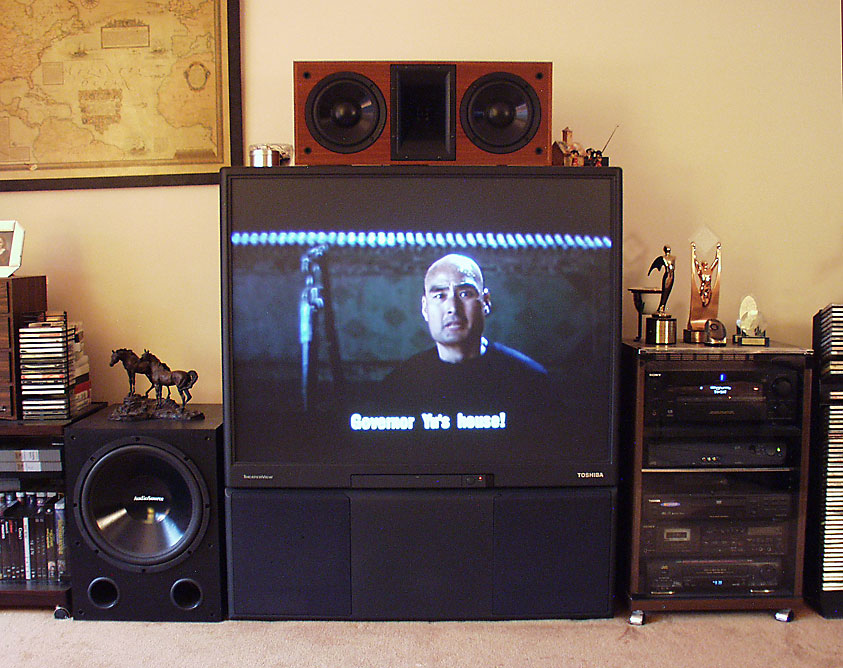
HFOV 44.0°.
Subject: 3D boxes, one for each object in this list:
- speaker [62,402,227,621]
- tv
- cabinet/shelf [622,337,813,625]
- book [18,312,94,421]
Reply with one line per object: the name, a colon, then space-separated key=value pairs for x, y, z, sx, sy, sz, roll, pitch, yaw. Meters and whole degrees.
speaker: x=-1.064 y=0.703 z=4.208 sx=0.652 sy=0.796 sz=0.658 roll=1 pitch=8 yaw=7
tv: x=-0.041 y=-0.074 z=3.877 sx=1.153 sy=0.855 sz=0.407 roll=0 pitch=4 yaw=0
cabinet/shelf: x=1.099 y=0.588 z=4.317 sx=0.962 sy=1.066 sz=0.971 roll=3 pitch=1 yaw=28
book: x=-1.460 y=0.136 z=4.114 sx=0.414 sy=0.415 sz=0.226 roll=-1 pitch=2 yaw=-18
